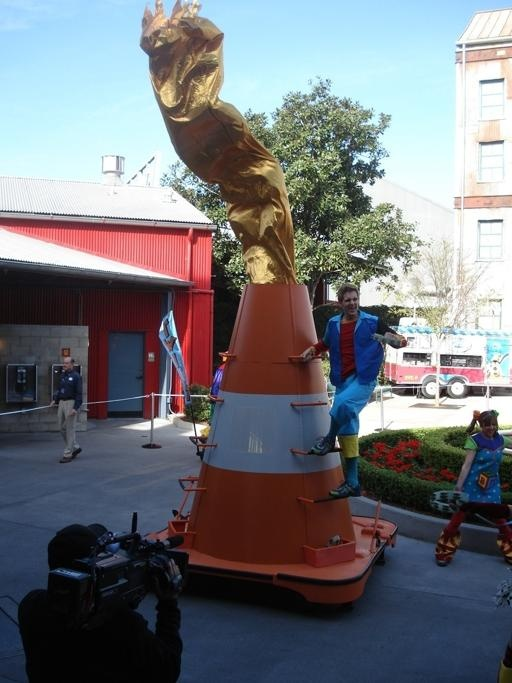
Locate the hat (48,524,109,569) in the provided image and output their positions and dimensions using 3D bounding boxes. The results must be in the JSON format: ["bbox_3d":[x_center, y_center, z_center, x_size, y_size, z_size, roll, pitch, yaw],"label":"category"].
[{"bbox_3d":[-0.566,0.645,1.958,0.152,0.105,0.257,3,-3,11],"label":"hat"}]

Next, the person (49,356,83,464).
[{"bbox_3d":[-3.189,1.132,9.901,0.445,1.696,0.753,1,0,-18],"label":"person"}]

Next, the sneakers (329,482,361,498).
[{"bbox_3d":[0.688,1.148,4.519,0.287,0.115,0.098,1,-7,-23],"label":"sneakers"}]

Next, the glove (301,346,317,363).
[{"bbox_3d":[0.423,0.099,4.708,0.137,0.037,0.104,-41,-6,18],"label":"glove"}]

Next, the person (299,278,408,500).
[{"bbox_3d":[0.754,0.398,4.591,0.831,1.252,0.595,0,0,30],"label":"person"}]

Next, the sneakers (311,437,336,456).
[{"bbox_3d":[0.505,0.803,4.495,0.099,0.103,0.244,-5,-5,34],"label":"sneakers"}]
